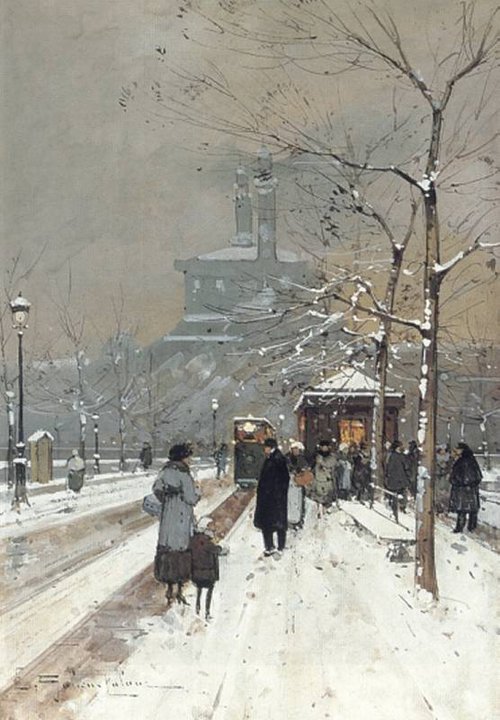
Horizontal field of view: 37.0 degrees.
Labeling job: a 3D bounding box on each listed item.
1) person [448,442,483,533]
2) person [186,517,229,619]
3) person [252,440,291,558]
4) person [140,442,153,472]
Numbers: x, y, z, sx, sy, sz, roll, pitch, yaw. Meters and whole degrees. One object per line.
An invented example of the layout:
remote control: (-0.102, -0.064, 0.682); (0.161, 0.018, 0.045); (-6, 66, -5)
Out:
person: (3.893, 2.289, 13.362); (0.512, 1.817, 1.530); (0, 1, 17)
person: (-0.462, 2.221, 8.106); (0.282, 0.981, 0.275); (4, 16, 15)
person: (0.309, 1.975, 10.732); (0.485, 1.656, 0.781); (0, 1, 1)
person: (-4.477, 4.074, 31.997); (0.407, 1.360, 2.074); (-1, 1, -10)
